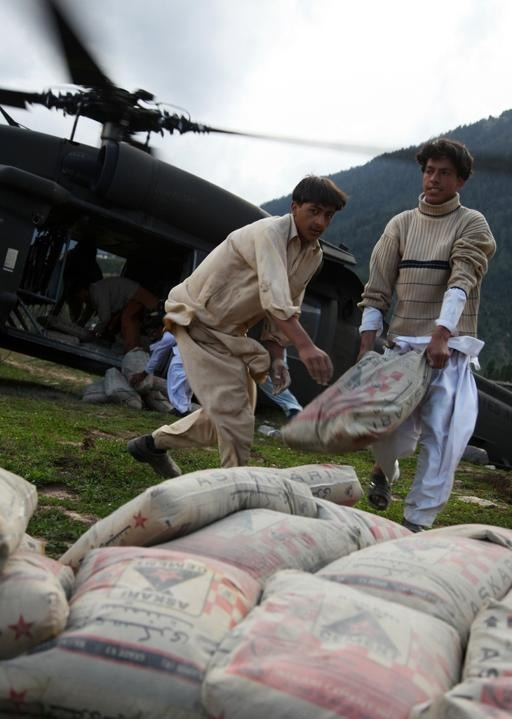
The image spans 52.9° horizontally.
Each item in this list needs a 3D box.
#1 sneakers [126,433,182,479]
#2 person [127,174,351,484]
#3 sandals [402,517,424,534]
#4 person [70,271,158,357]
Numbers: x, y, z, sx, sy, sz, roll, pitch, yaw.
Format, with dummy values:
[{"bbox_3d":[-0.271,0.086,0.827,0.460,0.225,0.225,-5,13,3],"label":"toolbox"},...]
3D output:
[{"bbox_3d":[-0.625,0.579,3.101,0.185,0.131,0.409,-29,-55,32],"label":"sneakers"},{"bbox_3d":[-0.068,-0.088,2.692,1.263,1.540,0.660,1,-7,40],"label":"person"},{"bbox_3d":[0.759,0.801,2.479,0.093,0.033,0.156,10,1,22],"label":"sandals"},{"bbox_3d":[-2.026,-0.611,7.183,1.121,0.456,1.102,-19,41,-17],"label":"person"}]
